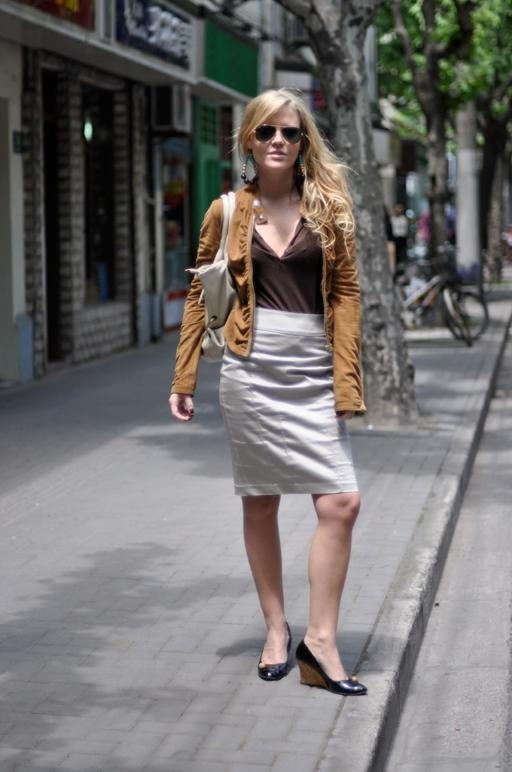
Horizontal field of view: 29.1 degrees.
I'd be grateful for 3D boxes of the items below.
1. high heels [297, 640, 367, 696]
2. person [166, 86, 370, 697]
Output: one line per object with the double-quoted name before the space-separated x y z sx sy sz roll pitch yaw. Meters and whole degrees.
"high heels" 0.190 0.780 2.776 0.260 0.137 0.087 7 2 30
"person" 0.041 0.005 2.789 0.570 1.673 0.341 -1 5 15
